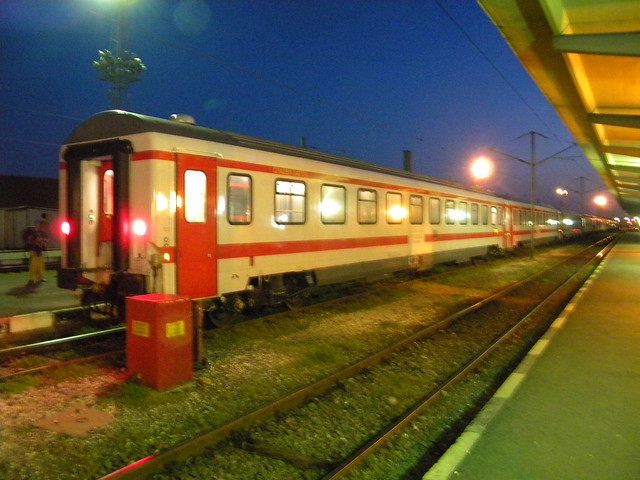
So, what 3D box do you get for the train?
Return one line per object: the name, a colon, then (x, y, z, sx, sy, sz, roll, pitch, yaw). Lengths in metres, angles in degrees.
train: (-0.776, -0.550, 11.438, 2.651, 4.227, 10.004, 5, 8, 43)
